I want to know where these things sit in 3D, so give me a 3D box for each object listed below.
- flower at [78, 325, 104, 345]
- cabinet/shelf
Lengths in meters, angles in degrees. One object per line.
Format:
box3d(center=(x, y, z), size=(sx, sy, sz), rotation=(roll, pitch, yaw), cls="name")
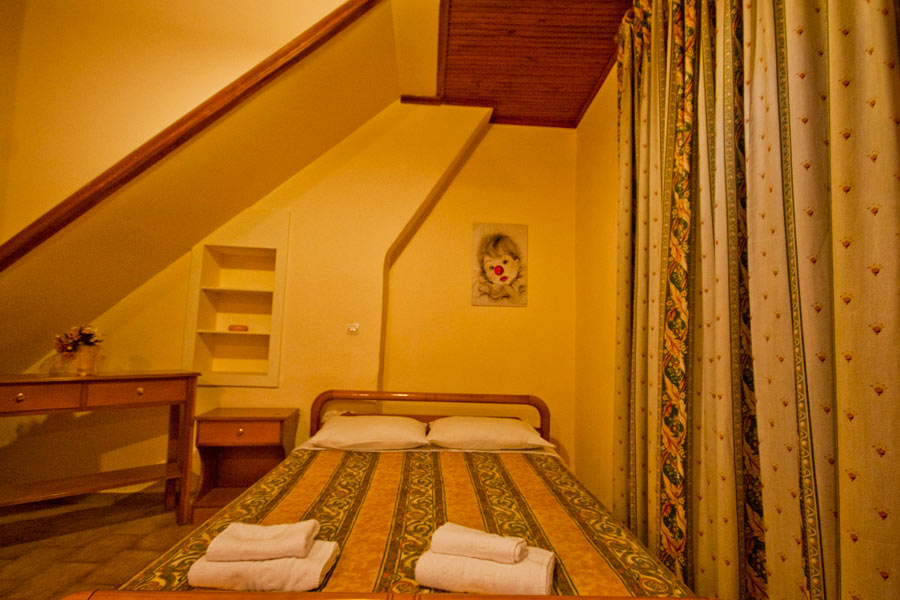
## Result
box3d(center=(-2.398, 0.245, 4.397), size=(0.122, 0.142, 0.072), rotation=(-8, 15, -33), cls="flower")
box3d(center=(-1.606, 0.062, 5.068), size=(0.709, 1.089, 0.560), rotation=(0, 13, -1), cls="cabinet/shelf")
